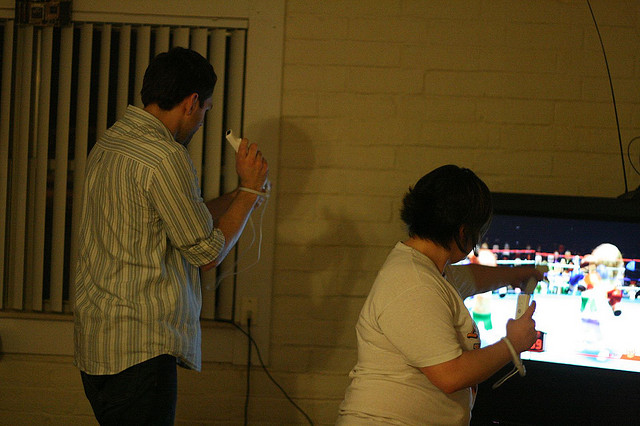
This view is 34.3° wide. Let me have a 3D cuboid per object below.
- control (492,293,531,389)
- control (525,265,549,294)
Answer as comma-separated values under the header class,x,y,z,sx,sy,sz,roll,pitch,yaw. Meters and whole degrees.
class,x,y,z,sx,sy,sz,roll,pitch,yaw
control,0.853,0.554,4.445,0.110,0.374,0.222,10,8,-16
control,0.997,0.301,4.778,0.090,0.121,0.250,7,2,20
